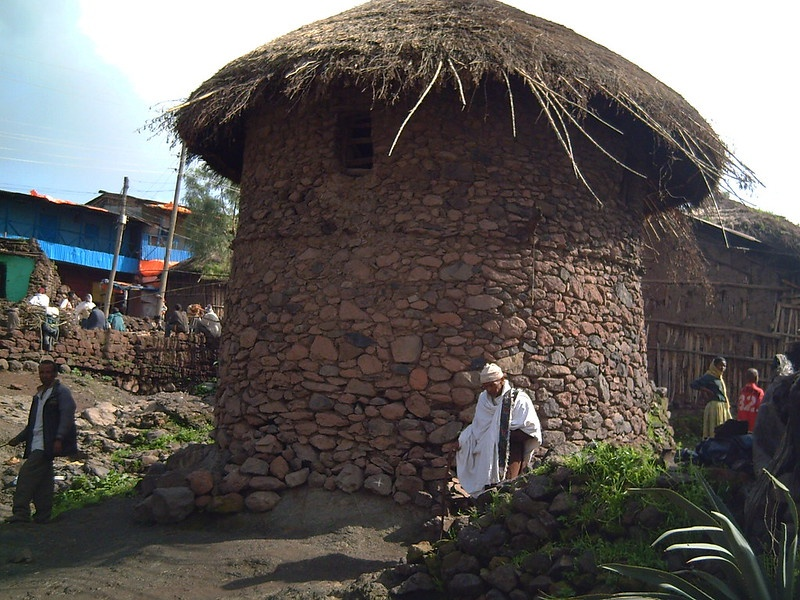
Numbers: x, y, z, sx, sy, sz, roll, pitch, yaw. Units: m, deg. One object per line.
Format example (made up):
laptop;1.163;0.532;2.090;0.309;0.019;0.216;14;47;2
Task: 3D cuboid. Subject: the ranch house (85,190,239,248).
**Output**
ranch house;-9.758;-3.196;26.436;4.462;1.408;3.777;10;5;-24

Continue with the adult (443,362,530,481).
adult;0.921;1.411;7.148;0.848;1.250;0.538;-30;-57;28

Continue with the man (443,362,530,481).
man;0.921;1.411;7.148;0.848;1.250;0.538;-30;-57;28

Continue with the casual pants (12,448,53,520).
casual pants;-4.346;2.244;7.753;0.405;0.805;0.294;10;-12;-29

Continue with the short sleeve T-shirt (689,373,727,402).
short sleeve T-shirt;4.653;1.364;9.894;0.454;0.386;0.461;-6;-10;43

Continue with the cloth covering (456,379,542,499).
cloth covering;1.050;1.524;6.957;0.860;1.202;0.367;3;-11;5

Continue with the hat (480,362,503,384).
hat;0.981;0.805;6.997;0.224;0.173;0.223;-5;-3;10
